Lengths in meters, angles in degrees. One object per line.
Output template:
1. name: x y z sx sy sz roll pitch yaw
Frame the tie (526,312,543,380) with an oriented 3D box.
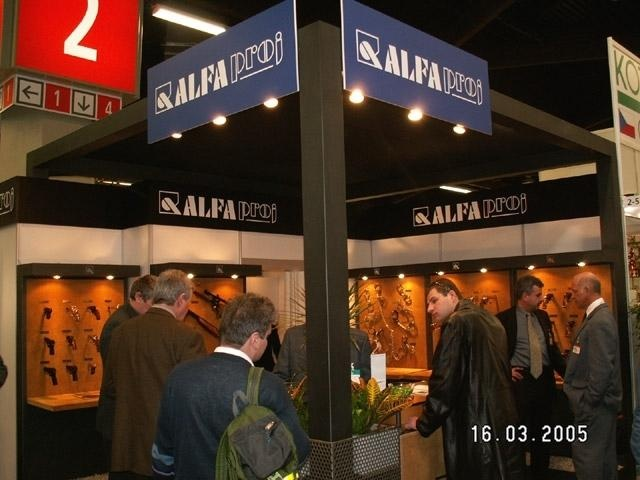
1. tie: 2.353 1.157 5.963 0.131 0.681 0.270 -7 -7 35
